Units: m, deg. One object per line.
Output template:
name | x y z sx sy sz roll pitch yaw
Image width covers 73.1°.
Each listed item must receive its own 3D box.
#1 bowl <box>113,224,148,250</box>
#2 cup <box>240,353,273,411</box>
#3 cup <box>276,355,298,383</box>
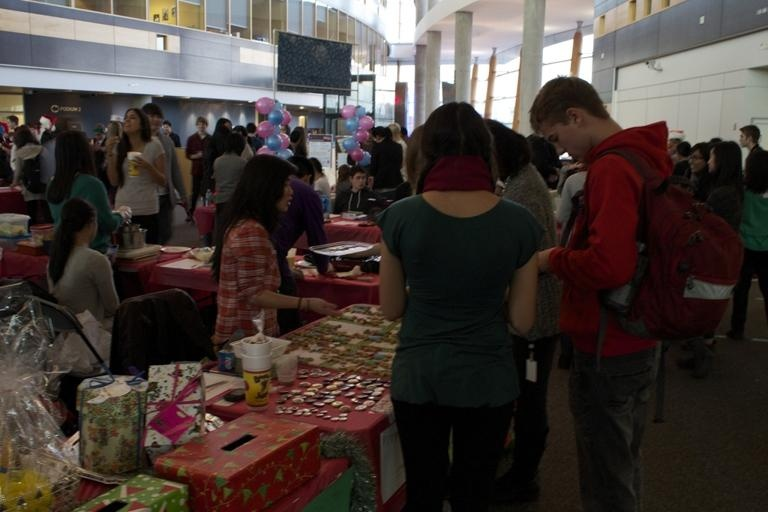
bowl | -2.156 -0.172 4.384 0.175 0.167 0.232 -2 -2 29
cup | -0.496 0.471 2.002 0.100 0.230 0.098 -1 11 0
cup | -0.425 0.490 2.236 0.089 0.113 0.105 -5 -9 36
